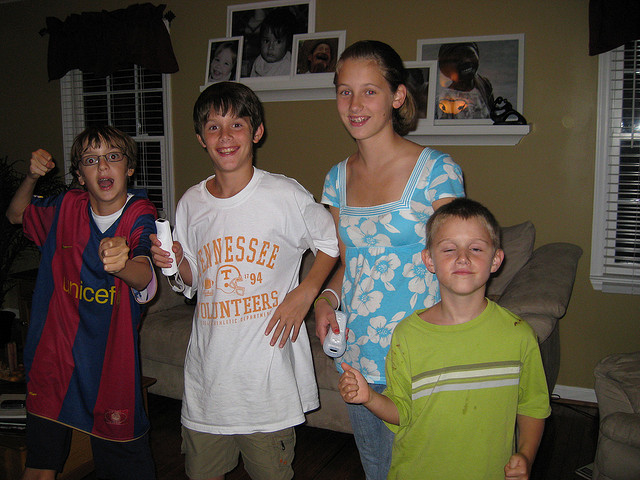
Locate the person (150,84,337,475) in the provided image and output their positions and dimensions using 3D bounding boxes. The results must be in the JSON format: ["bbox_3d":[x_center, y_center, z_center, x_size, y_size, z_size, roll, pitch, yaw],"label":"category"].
[{"bbox_3d":[-0.305,0.161,2.047,0.661,1.556,0.378,4,9,26],"label":"person"}]

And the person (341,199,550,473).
[{"bbox_3d":[0.433,0.332,1.744,0.669,0.924,0.240,0,8,0],"label":"person"}]

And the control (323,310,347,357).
[{"bbox_3d":[0.057,0.350,1.906,0.094,0.165,0.070,-1,8,-8],"label":"control"}]

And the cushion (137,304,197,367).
[{"bbox_3d":[-1.050,0.630,3.489,0.469,0.154,0.518,3,29,4],"label":"cushion"}]

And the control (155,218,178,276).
[{"bbox_3d":[-0.605,0.033,2.033,0.074,0.231,0.084,-3,8,-18],"label":"control"}]

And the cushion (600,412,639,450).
[{"bbox_3d":[1.375,0.859,2.355,0.131,0.143,0.051,8,-20,33],"label":"cushion"}]
